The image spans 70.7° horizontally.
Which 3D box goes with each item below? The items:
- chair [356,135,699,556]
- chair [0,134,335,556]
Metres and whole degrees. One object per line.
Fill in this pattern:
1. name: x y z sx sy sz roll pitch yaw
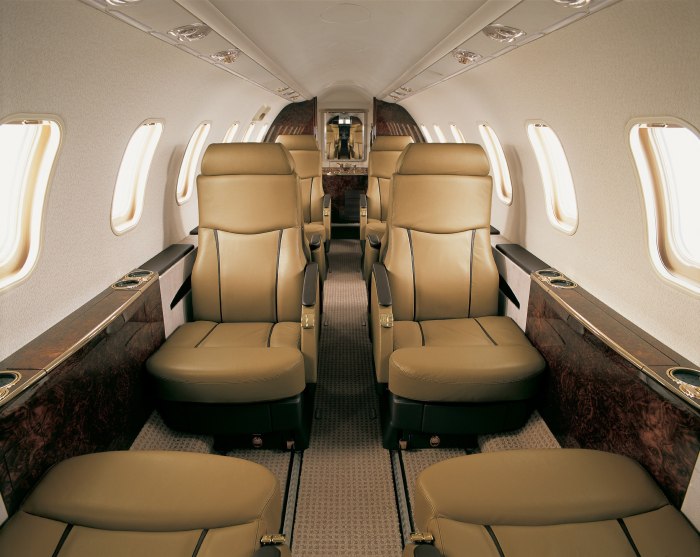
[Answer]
1. chair: 0.701 0.190 2.557 1.075 1.723 2.061 -1 14 -2
2. chair: -0.741 0.200 2.557 1.068 1.741 2.016 0 14 1
